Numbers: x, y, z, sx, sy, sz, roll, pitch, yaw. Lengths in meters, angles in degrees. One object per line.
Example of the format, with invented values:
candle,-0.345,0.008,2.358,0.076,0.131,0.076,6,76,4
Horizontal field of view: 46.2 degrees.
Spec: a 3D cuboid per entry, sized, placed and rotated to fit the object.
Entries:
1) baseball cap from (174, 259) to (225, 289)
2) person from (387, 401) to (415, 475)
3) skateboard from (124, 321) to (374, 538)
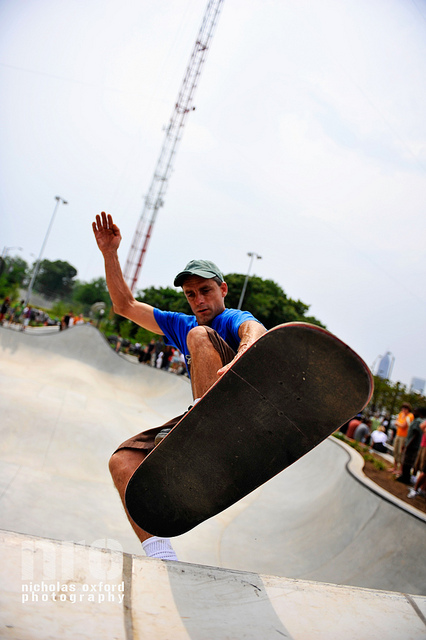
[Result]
baseball cap,-0.049,-0.203,2.315,0.235,0.144,0.221,15,-1,-12
person,2.676,1.655,7.050,0.245,0.953,0.291,12,-5,8
skateboard,0.071,0.350,1.757,0.469,1.002,0.139,44,23,-14
